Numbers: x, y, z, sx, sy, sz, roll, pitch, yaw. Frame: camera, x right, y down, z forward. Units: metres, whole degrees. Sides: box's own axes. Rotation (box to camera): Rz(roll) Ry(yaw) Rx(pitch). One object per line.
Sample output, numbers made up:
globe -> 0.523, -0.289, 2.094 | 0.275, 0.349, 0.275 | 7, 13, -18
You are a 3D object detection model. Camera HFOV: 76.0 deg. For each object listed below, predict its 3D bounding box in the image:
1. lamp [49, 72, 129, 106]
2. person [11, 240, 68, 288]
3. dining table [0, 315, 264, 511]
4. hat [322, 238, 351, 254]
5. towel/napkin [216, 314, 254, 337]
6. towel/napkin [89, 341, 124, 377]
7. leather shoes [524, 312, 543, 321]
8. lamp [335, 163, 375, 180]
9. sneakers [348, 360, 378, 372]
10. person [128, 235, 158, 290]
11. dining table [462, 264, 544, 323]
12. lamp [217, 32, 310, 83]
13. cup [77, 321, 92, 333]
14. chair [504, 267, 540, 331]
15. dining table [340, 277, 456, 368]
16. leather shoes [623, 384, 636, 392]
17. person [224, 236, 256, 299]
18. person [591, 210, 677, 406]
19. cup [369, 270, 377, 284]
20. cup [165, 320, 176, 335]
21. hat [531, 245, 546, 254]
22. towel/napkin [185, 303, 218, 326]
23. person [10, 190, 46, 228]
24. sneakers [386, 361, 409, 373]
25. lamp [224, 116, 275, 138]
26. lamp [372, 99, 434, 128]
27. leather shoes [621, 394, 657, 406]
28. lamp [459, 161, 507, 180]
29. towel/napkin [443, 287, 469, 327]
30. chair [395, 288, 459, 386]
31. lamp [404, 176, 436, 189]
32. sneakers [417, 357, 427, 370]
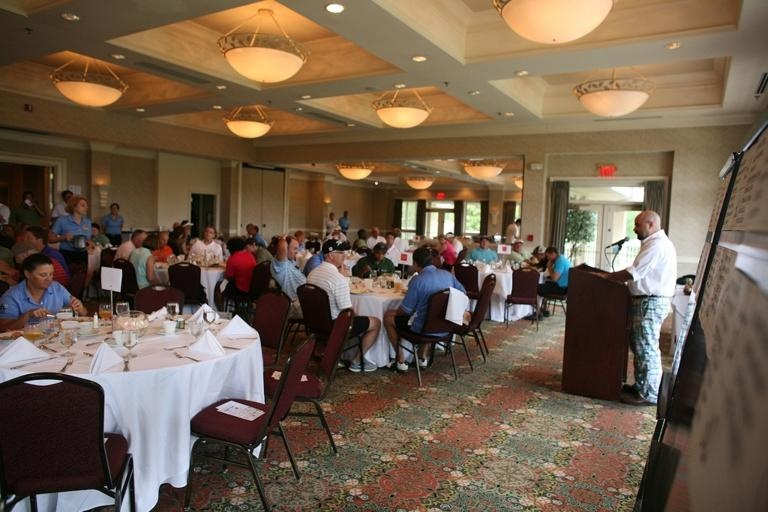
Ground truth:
lamp -> -4.559, -2.578, 7.576 | 0.680, 0.195, 0.631 | 1, 1, -25
person -> -4.462, 0.023, 6.359 | 0.438, 0.754, 0.382 | 3, 2, -8
dining table -> -1.395, 1.031, 3.502 | 1.230, 0.545, 1.148 | 0, 0, 6
hat -> -0.527, -0.144, 6.037 | 0.416, 0.137, 0.249 | -6, 6, -24
towel/napkin -> -1.163, 0.550, 3.835 | 0.157, 0.104, 0.260 | -15, -16, 22
towel/napkin -> -1.767, 0.660, 3.128 | 0.235, 0.189, 0.181 | 0, -11, -13
leather shoes -> 2.590, 1.035, 8.494 | 0.325, 0.110, 0.139 | 2, -1, 7
lamp -> -0.911, -2.658, 15.173 | 0.782, 0.255, 0.717 | 0, 0, -10
sneakers -> -0.241, 1.274, 5.698 | 0.280, 0.094, 0.119 | 0, -2, -9
person -> -3.409, 0.066, 6.954 | 0.337, 0.715, 0.475 | -4, 13, -27
dining table -> 1.994, 0.646, 8.485 | 0.955, 1.020, 1.050 | 3, 11, 11
lamp -> -1.453, -2.485, 6.118 | 0.793, 0.246, 0.759 | 9, -5, -37
cup -> -2.244, 0.535, 3.699 | 0.092, 0.066, 0.089 | 0, -10, 0
chair -> 2.263, 0.647, 8.031 | 0.567, 1.002, 0.738 | 5, 12, 16
dining table -> 0.181, 0.758, 5.868 | 1.067, 0.884, 0.975 | -2, 13, -10
leather shoes -> 2.582, 1.378, 5.186 | 0.064, 0.107, 0.168 | 9, 12, 36
person -> -2.228, 0.177, 7.560 | 0.460, 0.918, 0.775 | -2, 11, -17
person -> 2.589, 0.525, 4.981 | 0.523, 1.925, 0.425 | 8, 14, 29
cup -> -0.140, 0.278, 6.835 | 0.133, 0.187, 0.128 | 0, -1, 0
cup -> -1.676, 0.552, 3.832 | 0.099, 0.073, 0.089 | -6, 5, -24
hat -> 2.907, -0.120, 9.438 | 0.195, 0.133, 0.295 | -12, 0, -37
towel/napkin -> -1.513, 0.489, 4.110 | 0.154, 0.112, 0.235 | 0, 1, 11
person -> -7.717, -1.005, 10.587 | 0.552, 0.767, 1.018 | -4, 12, -27
sneakers -> 0.151, 1.280, 5.755 | 0.254, 0.096, 0.118 | 8, 7, 39
lamp -> -2.524, -2.458, 9.333 | 0.677, 0.212, 0.638 | 0, 2, -33
lamp -> 0.383, -2.374, 8.179 | 0.605, 0.171, 0.570 | 0, 2, -33
leather shoes -> 2.558, 1.464, 5.017 | 0.380, 0.137, 0.109 | -2, 0, 19
lamp -> 2.742, -2.440, 13.600 | 0.845, 0.264, 0.777 | 1, -1, -1
towel/napkin -> 0.761, 0.530, 5.228 | 0.202, 0.417, 0.250 | 4, 12, 11
chair -> 0.500, 0.837, 5.493 | 0.698, 1.060, 0.754 | 3, 11, 5
lamp -> 1.474, -3.032, 19.923 | 0.826, 0.295, 0.757 | 0, 0, -9
sneakers -> 0.454, 1.272, 5.780 | 0.079, 0.074, 0.191 | 1, 2, 16
